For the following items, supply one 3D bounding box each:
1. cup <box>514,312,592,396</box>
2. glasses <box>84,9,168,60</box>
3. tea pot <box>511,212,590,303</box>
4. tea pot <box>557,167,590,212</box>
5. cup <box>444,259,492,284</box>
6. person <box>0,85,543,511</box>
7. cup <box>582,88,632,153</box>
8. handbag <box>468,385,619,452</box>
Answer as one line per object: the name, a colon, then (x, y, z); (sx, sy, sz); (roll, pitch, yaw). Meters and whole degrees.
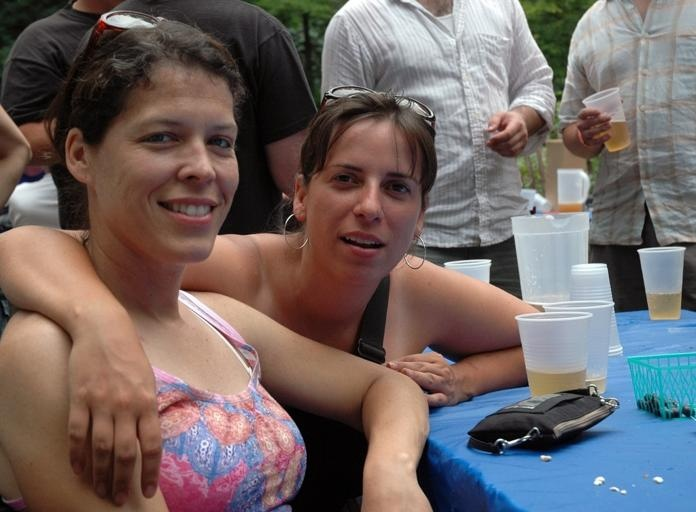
cup: (0.690, 0.305, 2.556); (0.273, 0.281, 0.257); (-6, 5, 1)
glasses: (-0.712, -0.658, 2.225); (0.045, 0.156, 0.158); (39, 32, 26)
tea pot: (0.888, -0.003, 3.407); (0.383, 0.440, 0.382); (-4, 0, 0)
tea pot: (1.491, -0.442, 4.955); (0.202, 0.326, 0.300); (-3, 4, -45)
cup: (0.563, 0.059, 3.456); (0.143, 0.153, 0.144); (0, 0, 0)
person: (-0.272, 0.158, 2.480); (1.571, 1.301, 0.825); (6, 12, -22)
cup: (1.444, -0.750, 4.110); (0.281, 0.342, 0.189); (-8, 14, -30)
handbag: (0.600, 0.483, 2.221); (0.320, 0.095, 0.200); (-16, -2, -27)
